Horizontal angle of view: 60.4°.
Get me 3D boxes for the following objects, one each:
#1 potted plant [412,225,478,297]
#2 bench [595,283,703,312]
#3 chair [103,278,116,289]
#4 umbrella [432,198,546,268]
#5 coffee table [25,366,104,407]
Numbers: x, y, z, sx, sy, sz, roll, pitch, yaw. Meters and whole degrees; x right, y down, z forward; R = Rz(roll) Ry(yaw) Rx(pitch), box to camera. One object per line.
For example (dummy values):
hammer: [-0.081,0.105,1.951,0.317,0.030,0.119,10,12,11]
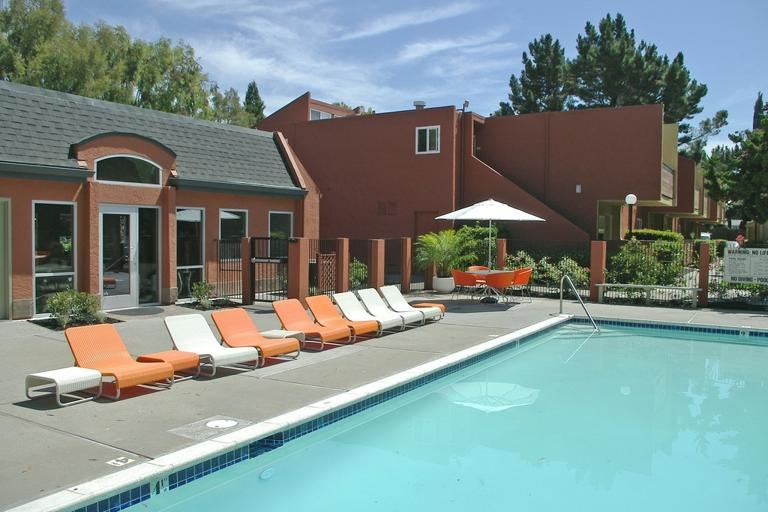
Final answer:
potted plant: [2.323,-0.041,25.083,2.099,2.062,2.031,-1,-2,-37]
bench: [8.839,1.259,21.972,3.189,0.892,1.559,-3,1,19]
chair: [-7.998,0.784,19.145,0.300,0.187,0.306,0,1,38]
umbrella: [3.585,-0.318,22.276,2.932,2.011,3.086,-2,7,3]
coffee table: [-6.090,2.444,12.515,1.436,0.741,0.856,-3,1,19]
